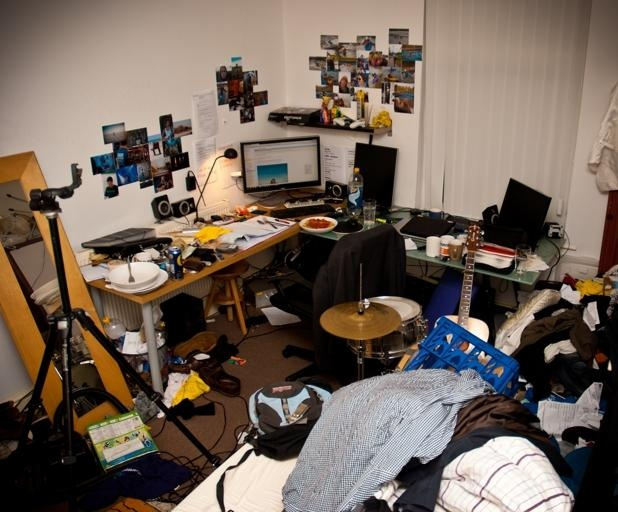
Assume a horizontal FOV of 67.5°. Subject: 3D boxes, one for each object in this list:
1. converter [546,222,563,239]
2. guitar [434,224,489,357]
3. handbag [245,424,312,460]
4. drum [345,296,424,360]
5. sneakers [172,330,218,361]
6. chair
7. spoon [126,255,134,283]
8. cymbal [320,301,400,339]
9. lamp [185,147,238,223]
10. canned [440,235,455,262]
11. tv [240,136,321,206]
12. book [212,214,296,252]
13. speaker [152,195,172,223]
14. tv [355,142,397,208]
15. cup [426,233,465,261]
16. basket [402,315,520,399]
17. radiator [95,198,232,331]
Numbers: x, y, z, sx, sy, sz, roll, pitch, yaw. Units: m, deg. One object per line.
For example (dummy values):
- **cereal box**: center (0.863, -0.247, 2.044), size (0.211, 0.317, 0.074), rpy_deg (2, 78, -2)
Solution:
- **converter**: center (1.808, -0.182, 3.408), size (0.107, 0.108, 0.048), rpy_deg (2, 7, 20)
- **guitar**: center (1.006, 0.235, 2.878), size (0.303, 0.805, 0.120), rpy_deg (8, -8, 12)
- **handbag**: center (-0.149, 0.914, 2.322), size (0.189, 0.081, 0.160), rpy_deg (-6, -9, -12)
- **drum**: center (0.558, 0.472, 2.918), size (0.371, 0.194, 0.459), rpy_deg (1, 22, 8)
- **sneakers**: center (-0.879, 0.691, 3.608), size (0.156, 0.059, 0.254), rpy_deg (15, 33, 38)
- **chair**: center (0.212, 0.324, 3.112), size (0.769, 1.019, 0.403), rpy_deg (-25, 40, -31)
- **spoon**: center (-1.123, 0.096, 2.896), size (0.040, 0.033, 0.249), rpy_deg (-7, 45, -13)
- **cymbal**: center (0.285, 0.356, 2.565), size (0.436, 0.099, 0.352), rpy_deg (-1, 21, 7)
- **lamp**: center (-0.841, -0.599, 3.883), size (0.499, 0.849, 0.154), rpy_deg (0, 42, -21)
- **canned**: center (0.951, -0.051, 3.274), size (0.141, 0.217, 0.159), rpy_deg (3, 1, 16)
- **tv**: center (-0.264, -0.769, 4.105), size (0.607, 0.423, 0.176), rpy_deg (-8, 25, -9)
- **book**: center (-0.450, -0.196, 3.616), size (0.304, 0.043, 0.361), rpy_deg (12, 29, 33)
- **speaker**: center (-1.151, -0.364, 3.582), size (0.118, 0.218, 0.161), rpy_deg (4, 20, 23)
- **tv**: center (0.564, -0.685, 3.928), size (0.510, 0.678, 0.066), rpy_deg (11, 18, 38)
- **cup**: center (0.952, -0.062, 3.267), size (0.246, 0.118, 0.152), rpy_deg (10, 14, 38)
- **basket**: center (0.765, 0.551, 2.350), size (0.299, 0.243, 0.477), rpy_deg (-19, 26, -35)
- **radiator**: center (-1.115, 0.156, 3.325), size (0.485, 0.567, 0.916), rpy_deg (7, 19, 28)
